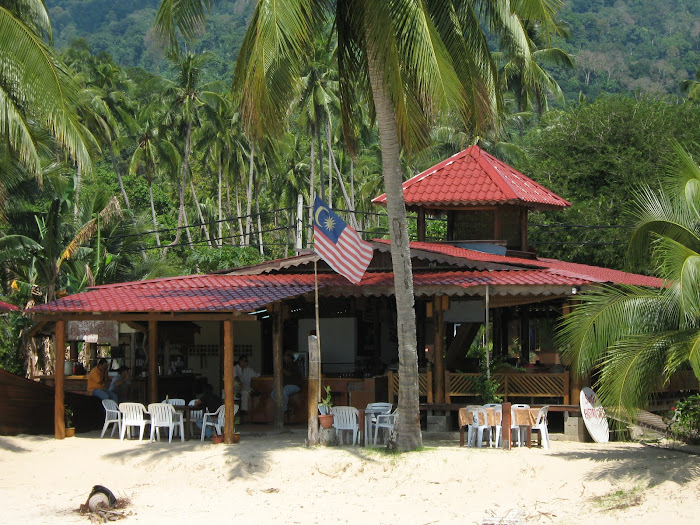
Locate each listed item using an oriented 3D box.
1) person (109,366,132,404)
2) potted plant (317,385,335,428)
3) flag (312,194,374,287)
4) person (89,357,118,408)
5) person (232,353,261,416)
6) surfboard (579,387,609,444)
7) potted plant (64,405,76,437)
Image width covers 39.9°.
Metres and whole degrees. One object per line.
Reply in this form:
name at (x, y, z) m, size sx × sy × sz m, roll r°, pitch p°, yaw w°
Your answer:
person at (-7.249, 3.906, 30.277) m, size 0.729 × 1.065 × 0.692 m, roll -2°, pitch -5°, yaw 16°
potted plant at (-0.605, 4.060, 27.004) m, size 0.563 × 1.125 × 0.614 m, roll 0°, pitch -3°, yaw 29°
flag at (-0.207, -0.558, 26.889) m, size 1.567 × 2.667 × 0.213 m, roll 1°, pitch 36°, yaw -4°
person at (-7.637, 3.713, 29.917) m, size 0.802 × 1.262 × 2.025 m, roll -4°, pitch 12°, yaw -18°
person at (-3.340, 3.953, 31.379) m, size 0.724 × 2.034 × 0.970 m, roll -2°, pitch 10°, yaw -6°
surfboard at (6.946, 4.371, 27.447) m, size 0.196 × 1.432 × 1.186 m, roll -13°, pitch -24°, yaw 26°
potted plant at (-8.228, 4.746, 28.534) m, size 0.255 × 0.927 × 1.154 m, roll -3°, pitch 11°, yaw -14°
